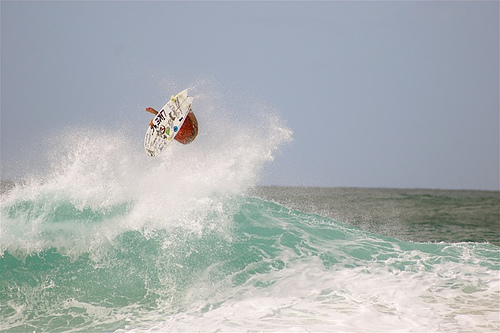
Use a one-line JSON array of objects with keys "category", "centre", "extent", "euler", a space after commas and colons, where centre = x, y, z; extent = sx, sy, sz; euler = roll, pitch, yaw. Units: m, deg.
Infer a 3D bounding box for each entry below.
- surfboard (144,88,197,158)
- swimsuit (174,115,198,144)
[{"category": "surfboard", "centre": [-1.860, -1.019, 12.762], "extent": [0.708, 2.036, 0.219], "euler": [42, 16, 15]}, {"category": "swimsuit", "centre": [-1.479, -0.877, 12.961], "extent": [0.532, 0.646, 0.435], "euler": [7, -1, -38]}]
